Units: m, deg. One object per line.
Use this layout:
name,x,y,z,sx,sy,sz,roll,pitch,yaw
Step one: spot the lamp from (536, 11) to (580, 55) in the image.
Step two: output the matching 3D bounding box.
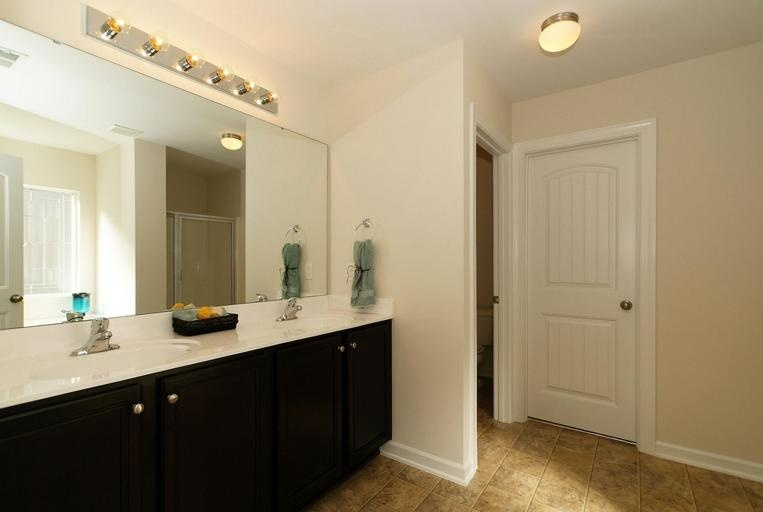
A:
lamp,1.215,-1.524,3.450,0.261,0.239,0.185,0,-1,17

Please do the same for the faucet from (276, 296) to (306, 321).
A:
faucet,-0.698,0.393,3.846,0.155,0.159,0.162,7,23,-30

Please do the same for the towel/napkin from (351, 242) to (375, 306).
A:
towel/napkin,-0.150,0.133,3.910,0.175,0.510,0.087,0,-1,-15

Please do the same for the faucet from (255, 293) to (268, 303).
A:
faucet,-0.899,0.307,3.740,0.033,0.057,0.090,1,-1,17

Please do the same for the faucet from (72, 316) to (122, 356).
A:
faucet,-1.686,0.454,2.978,0.088,0.201,0.263,19,12,33
